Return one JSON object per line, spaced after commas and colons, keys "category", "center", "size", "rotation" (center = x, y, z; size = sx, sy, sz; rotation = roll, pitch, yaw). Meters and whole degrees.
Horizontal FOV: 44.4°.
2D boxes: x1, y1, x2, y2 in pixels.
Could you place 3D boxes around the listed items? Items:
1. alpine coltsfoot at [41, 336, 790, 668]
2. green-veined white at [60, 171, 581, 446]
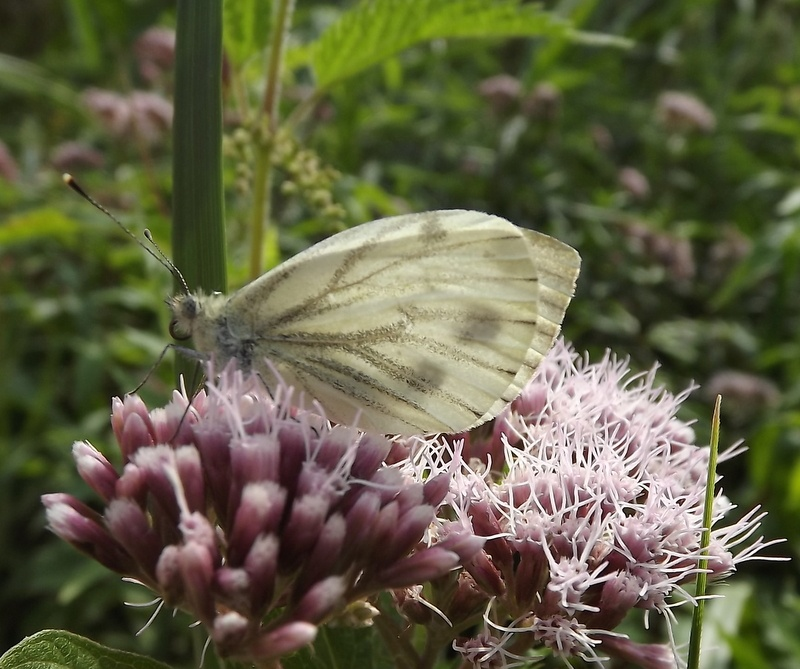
{"category": "alpine coltsfoot", "center": [-0.026, 0.469, 2.046], "size": [1.355, 0.792, 0.638], "rotation": [3, 50, -17]}
{"category": "green-veined white", "center": [-0.161, -0.057, 2.190], "size": [1.144, 0.460, 0.595], "rotation": [12, 2, 17]}
